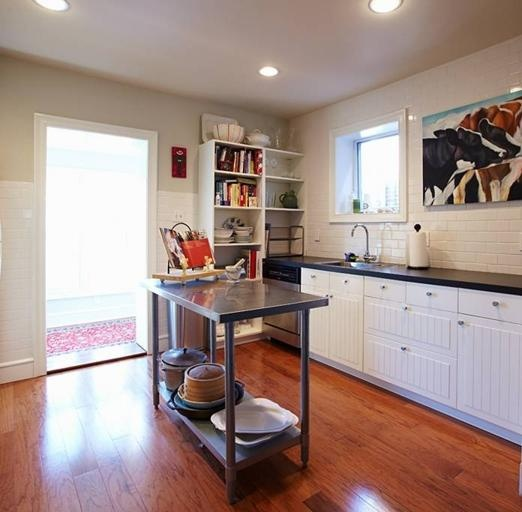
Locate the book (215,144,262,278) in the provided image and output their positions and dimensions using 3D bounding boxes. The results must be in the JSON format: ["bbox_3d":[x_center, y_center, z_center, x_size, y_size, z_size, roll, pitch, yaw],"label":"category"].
[{"bbox_3d":[-0.288,-0.434,4.125,0.574,1.295,0.364,-5,9,-34],"label":"book"}]

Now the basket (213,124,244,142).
[{"bbox_3d":[-0.318,-1.158,3.947,0.203,0.095,0.206,0,0,21],"label":"basket"}]

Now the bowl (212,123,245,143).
[{"bbox_3d":[-0.321,-1.126,3.955,0.214,0.101,0.217,0,0,0],"label":"bowl"}]

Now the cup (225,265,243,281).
[{"bbox_3d":[-0.178,0.111,2.715,0.115,0.104,0.109,0,8,0],"label":"cup"}]

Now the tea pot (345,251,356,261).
[{"bbox_3d":[0.841,0.000,3.862,0.091,0.092,0.065,-3,7,-16],"label":"tea pot"}]

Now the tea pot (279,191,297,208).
[{"bbox_3d":[0.299,-0.606,4.499,0.199,0.200,0.153,0,2,5],"label":"tea pot"}]

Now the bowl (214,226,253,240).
[{"bbox_3d":[-0.260,-0.224,4.122,0.181,0.125,0.480,7,11,41],"label":"bowl"}]

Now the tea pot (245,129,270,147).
[{"bbox_3d":[-0.063,-1.142,4.142,0.222,0.132,0.252,2,5,40],"label":"tea pot"}]

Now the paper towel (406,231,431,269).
[{"bbox_3d":[1.216,-0.045,3.211,0.159,0.274,0.116,3,8,19],"label":"paper towel"}]

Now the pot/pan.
[{"bbox_3d":[-0.406,0.729,2.447,0.294,0.146,0.369,1,6,-35],"label":"pot/pan"}]

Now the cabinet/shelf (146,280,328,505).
[{"bbox_3d":[-0.253,0.659,2.501,0.642,0.907,1.214,-2,3,-35],"label":"cabinet/shelf"}]

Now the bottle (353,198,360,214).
[{"bbox_3d":[0.926,-0.482,4.021,0.079,0.130,0.134,2,8,13],"label":"bottle"}]

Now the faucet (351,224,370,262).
[{"bbox_3d":[0.924,-0.139,3.828,0.145,0.298,0.392,-1,8,-7],"label":"faucet"}]
